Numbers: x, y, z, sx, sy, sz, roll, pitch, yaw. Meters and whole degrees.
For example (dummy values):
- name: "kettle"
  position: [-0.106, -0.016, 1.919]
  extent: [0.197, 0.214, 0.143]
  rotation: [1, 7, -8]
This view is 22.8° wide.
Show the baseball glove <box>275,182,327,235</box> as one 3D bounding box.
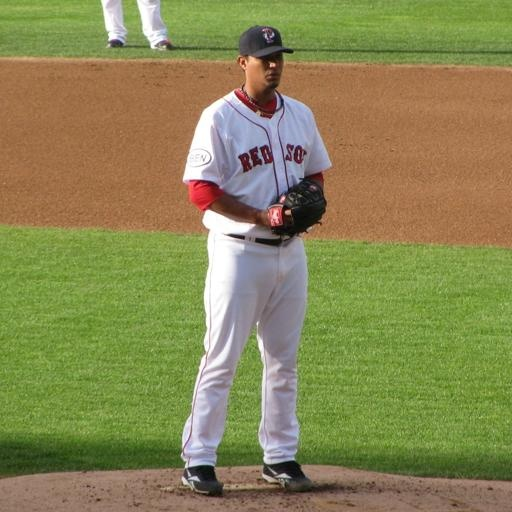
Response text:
- name: "baseball glove"
  position: [0.320, -0.407, 9.689]
  extent: [0.421, 0.298, 0.693]
  rotation: [-4, 18, 12]

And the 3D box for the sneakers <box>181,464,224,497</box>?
- name: "sneakers"
  position: [-0.403, 1.663, 9.437]
  extent: [0.137, 0.181, 0.353]
  rotation: [3, 3, -39]

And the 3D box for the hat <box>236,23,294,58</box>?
- name: "hat"
  position: [0.007, -1.629, 9.570]
  extent: [0.223, 0.183, 0.309]
  rotation: [-10, 14, -32]
